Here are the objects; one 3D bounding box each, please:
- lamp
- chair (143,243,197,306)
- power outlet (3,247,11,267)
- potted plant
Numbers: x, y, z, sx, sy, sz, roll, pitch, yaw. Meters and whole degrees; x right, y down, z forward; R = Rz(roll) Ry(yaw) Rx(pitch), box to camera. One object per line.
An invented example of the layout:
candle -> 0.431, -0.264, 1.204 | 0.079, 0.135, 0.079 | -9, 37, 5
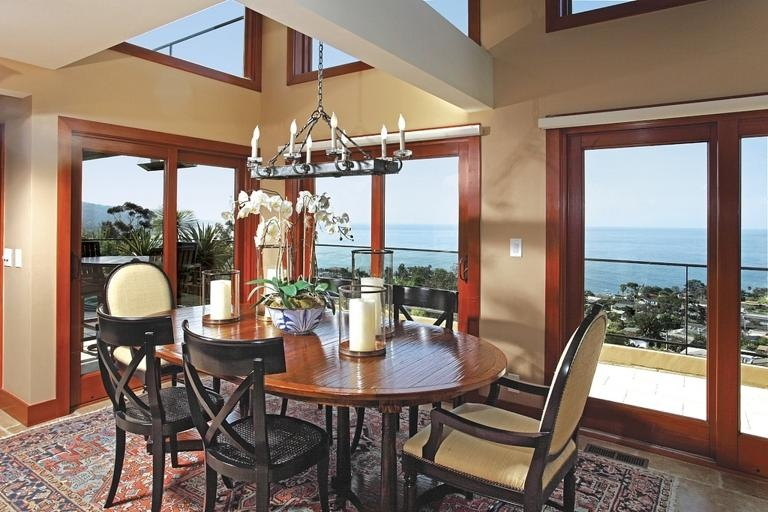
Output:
lamp -> -0.455, -1.122, 3.715 | 1.215, 1.104, 0.861 | 2, 7, 28
chair -> -2.283, 0.171, 5.213 | 0.587, 0.800, 0.472 | 2, 2, 37
power outlet -> -3.283, 0.008, 4.391 | 0.172, 0.195, 0.021 | -1, -2, 37
potted plant -> -0.662, 0.332, 3.548 | 0.457, 0.257, 0.448 | 0, -1, -3
